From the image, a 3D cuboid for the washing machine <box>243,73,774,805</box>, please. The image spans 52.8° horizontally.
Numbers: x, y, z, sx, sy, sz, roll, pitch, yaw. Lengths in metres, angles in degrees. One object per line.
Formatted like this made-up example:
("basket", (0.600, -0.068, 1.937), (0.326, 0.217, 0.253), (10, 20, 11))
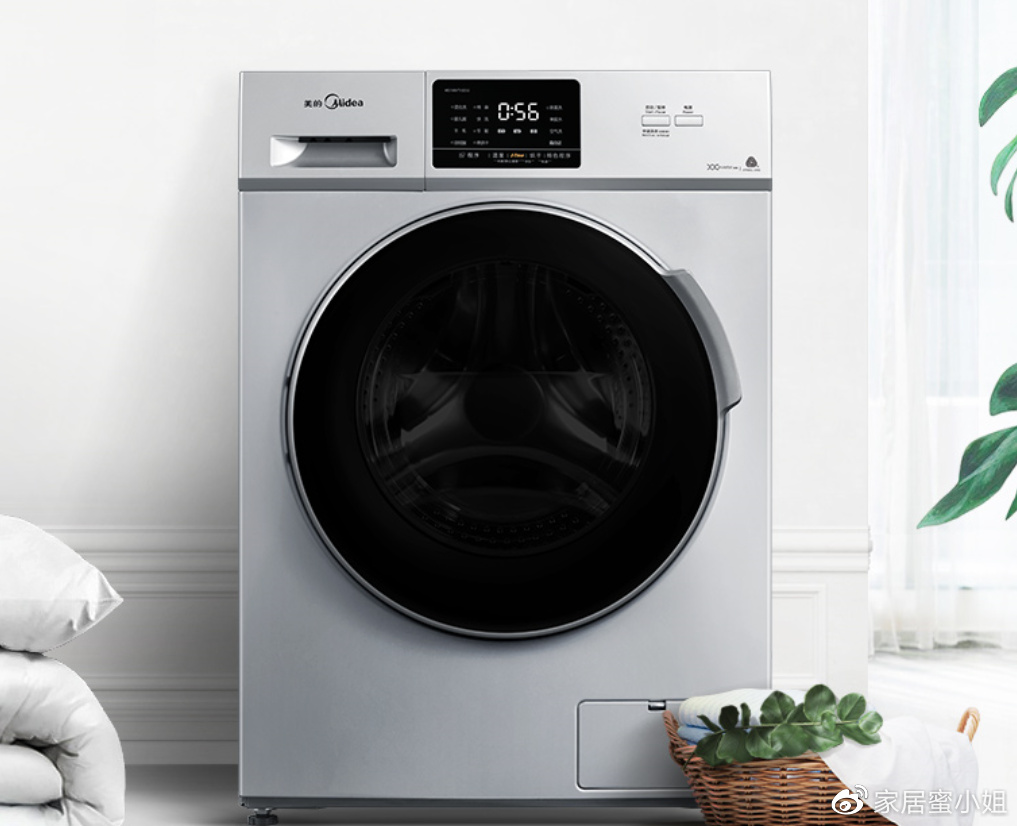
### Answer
("washing machine", (0.033, 0.066, 2.088), (1.036, 1.528, 1.087), (0, -6, -2))
